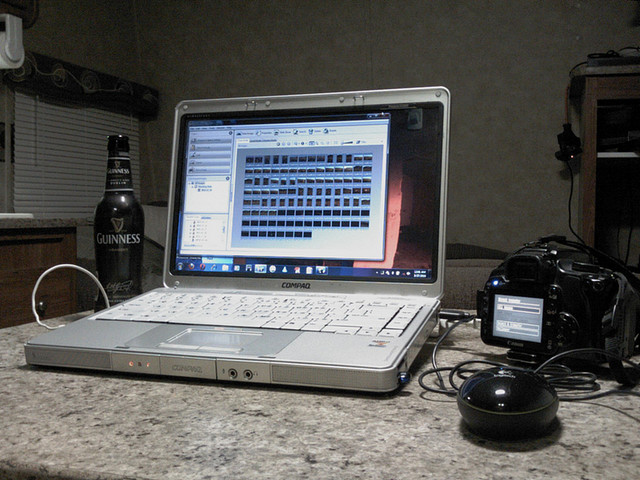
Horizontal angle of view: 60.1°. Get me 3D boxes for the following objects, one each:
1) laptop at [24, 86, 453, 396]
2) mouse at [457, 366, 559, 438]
[{"bbox_3d":[-0.095,-0.033,0.837,0.562,0.346,0.482,-1,11,13],"label":"laptop"},{"bbox_3d":[0.202,0.175,0.600,0.096,0.058,0.071,-2,7,-29],"label":"mouse"}]
